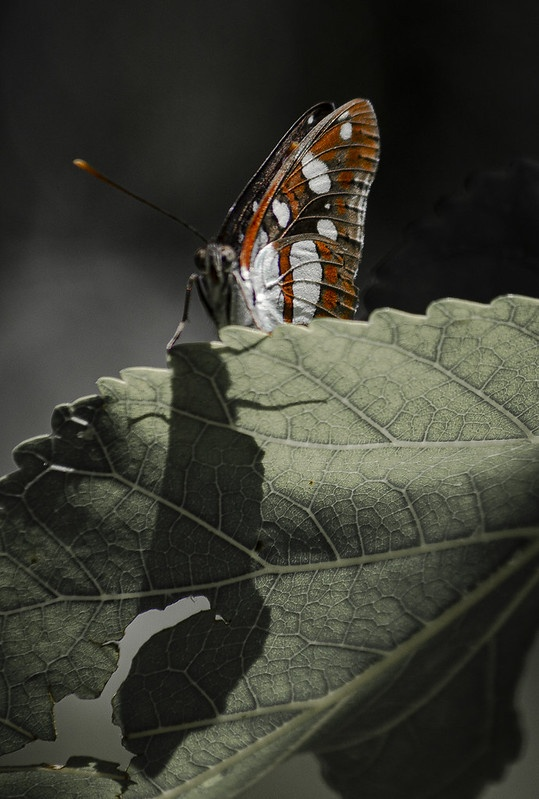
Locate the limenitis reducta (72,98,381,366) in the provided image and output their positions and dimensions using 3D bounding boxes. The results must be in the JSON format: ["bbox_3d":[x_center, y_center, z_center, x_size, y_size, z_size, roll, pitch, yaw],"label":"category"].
[{"bbox_3d":[-0.020,-0.207,0.893,0.274,0.391,0.214,0,31,10],"label":"limenitis reducta"}]
